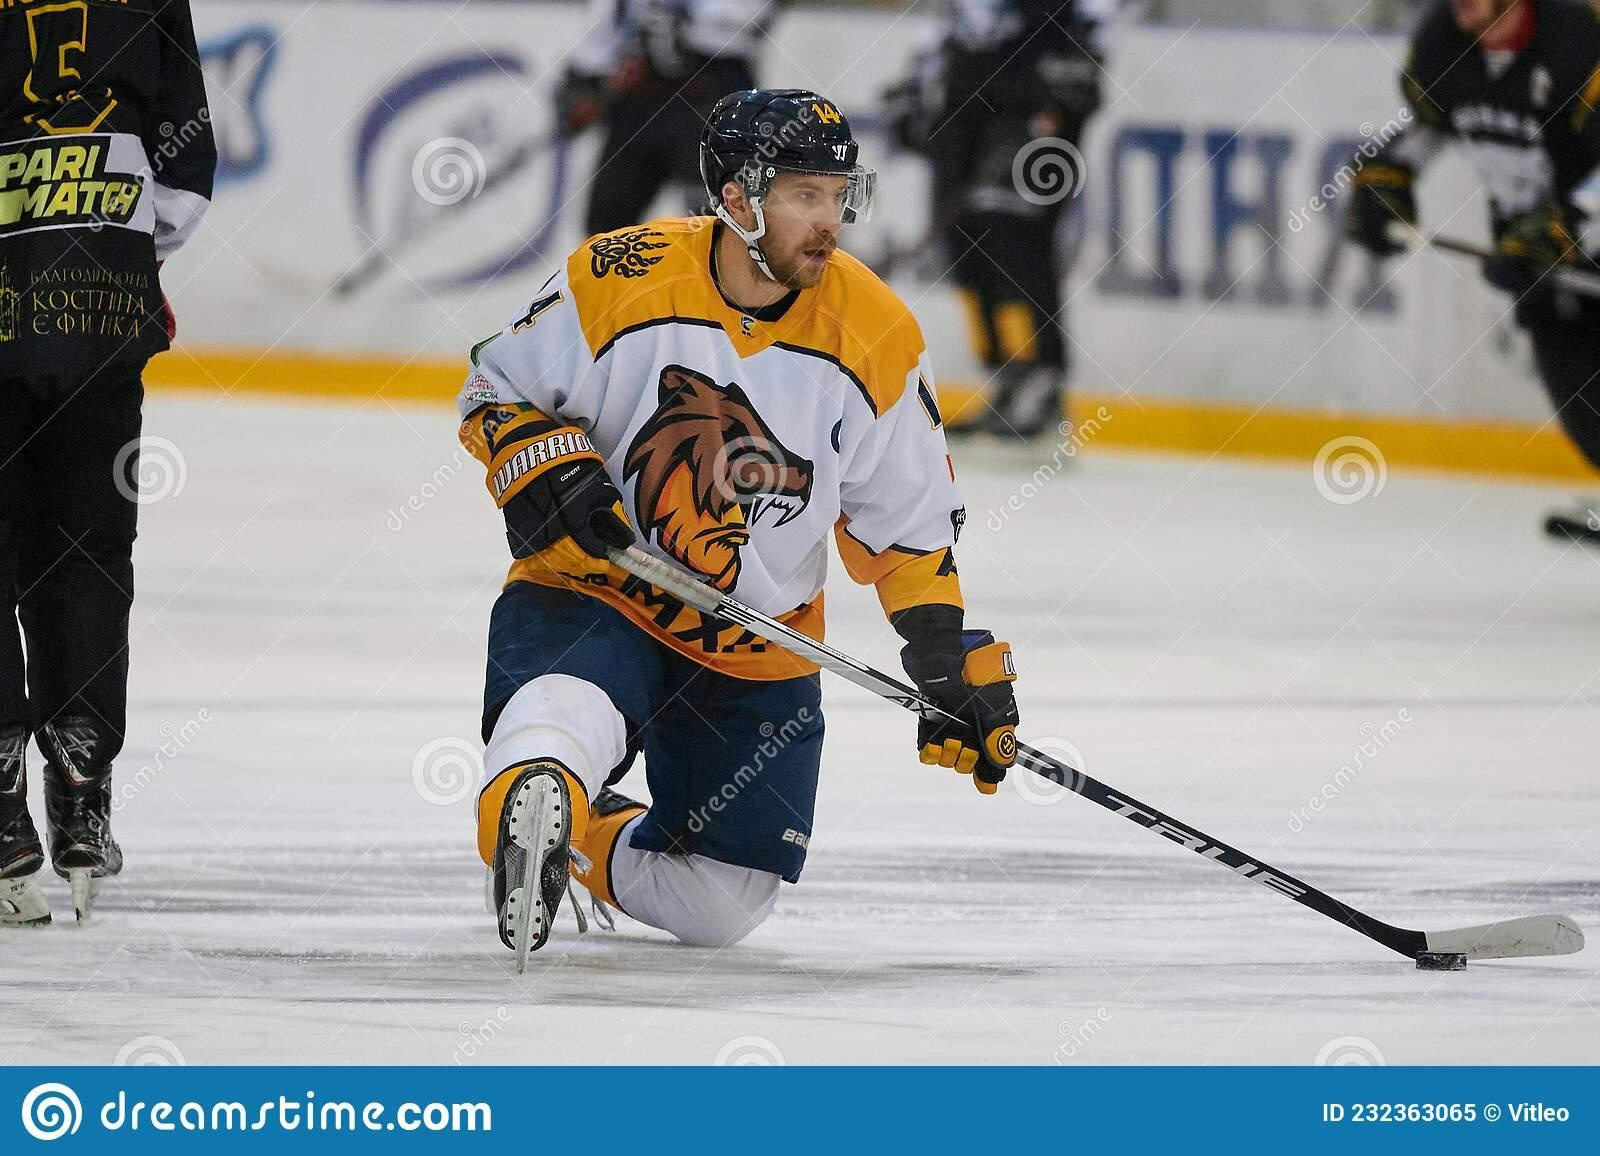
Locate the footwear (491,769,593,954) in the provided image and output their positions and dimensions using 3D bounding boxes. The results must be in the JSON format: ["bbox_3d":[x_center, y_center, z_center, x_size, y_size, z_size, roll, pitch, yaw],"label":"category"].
[{"bbox_3d":[-0.440,0.483,4.107,0.135,0.339,0.082,-1,8,-26],"label":"footwear"}]

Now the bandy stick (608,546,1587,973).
[{"bbox_3d":[0.606,0.396,5.019,1.370,0.201,0.119,26,46,9],"label":"bandy stick"}]

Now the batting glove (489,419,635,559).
[{"bbox_3d":[-0.406,-0.151,4.445,0.194,0.256,0.115,-35,-4,18],"label":"batting glove"}]

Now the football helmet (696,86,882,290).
[{"bbox_3d":[-0.017,-0.722,4.538,0.279,0.351,0.339,-12,19,-38],"label":"football helmet"}]

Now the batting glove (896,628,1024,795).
[{"bbox_3d":[0.318,0.243,4.561,0.207,0.276,0.129,-8,9,16],"label":"batting glove"}]
